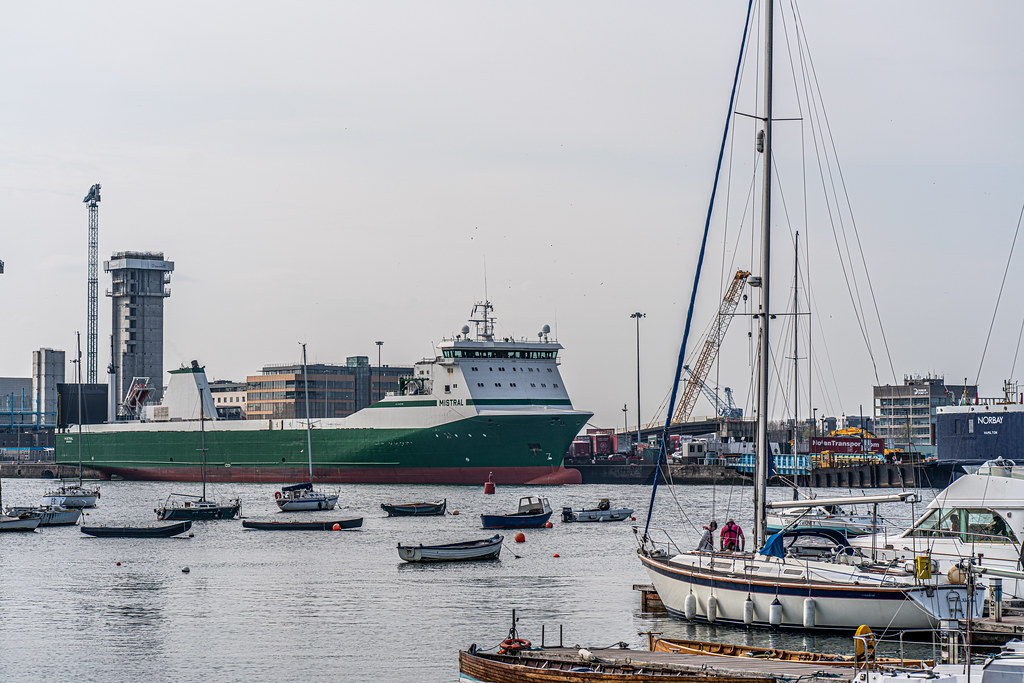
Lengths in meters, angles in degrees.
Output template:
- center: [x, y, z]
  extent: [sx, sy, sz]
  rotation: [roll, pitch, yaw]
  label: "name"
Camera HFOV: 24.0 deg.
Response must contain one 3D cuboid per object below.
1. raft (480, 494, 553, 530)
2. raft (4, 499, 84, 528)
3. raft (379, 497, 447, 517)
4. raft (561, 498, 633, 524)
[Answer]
- center: [0.312, 10.806, 150.633]
  extent: [1.799, 1.647, 5.145]
  rotation: [0, -1, 43]
  label: "raft"
- center: [-29.779, 11.086, 154.034]
  extent: [5.293, 1.341, 1.758]
  rotation: [1, 4, -35]
  label: "raft"
- center: [-6.707, 10.812, 157.555]
  extent: [5.191, 1.388, 1.510]
  rotation: [1, -4, -3]
  label: "raft"
- center: [5.522, 11.166, 155.206]
  extent: [3.669, 1.310, 1.886]
  rotation: [0, 2, -11]
  label: "raft"
